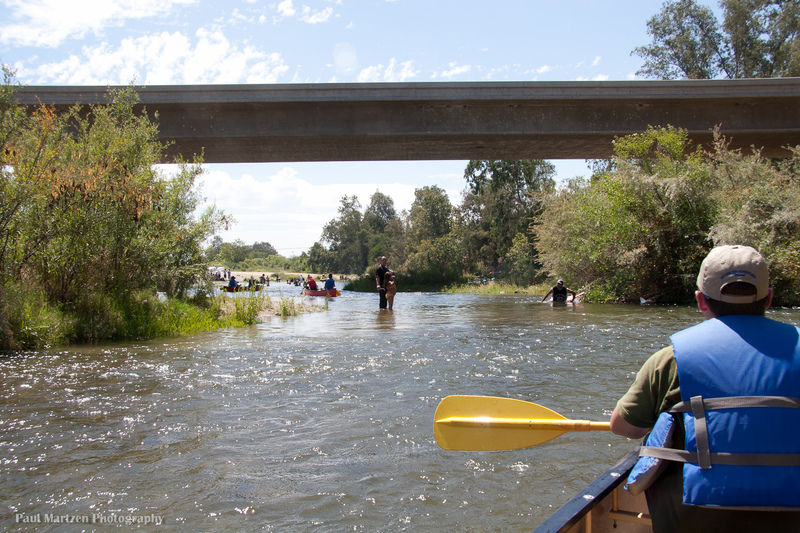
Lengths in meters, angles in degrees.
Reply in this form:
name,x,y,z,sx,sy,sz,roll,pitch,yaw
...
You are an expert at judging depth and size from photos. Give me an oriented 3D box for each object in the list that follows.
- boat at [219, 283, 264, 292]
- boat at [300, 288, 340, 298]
name,x,y,z,sx,sy,sz,roll,pitch,yaw
boat,-6.703,0.880,33.923,0.155,0.338,1.988,3,-1,14
boat,-4.353,1.435,43.703,0.773,0.606,3.166,4,-3,-39
